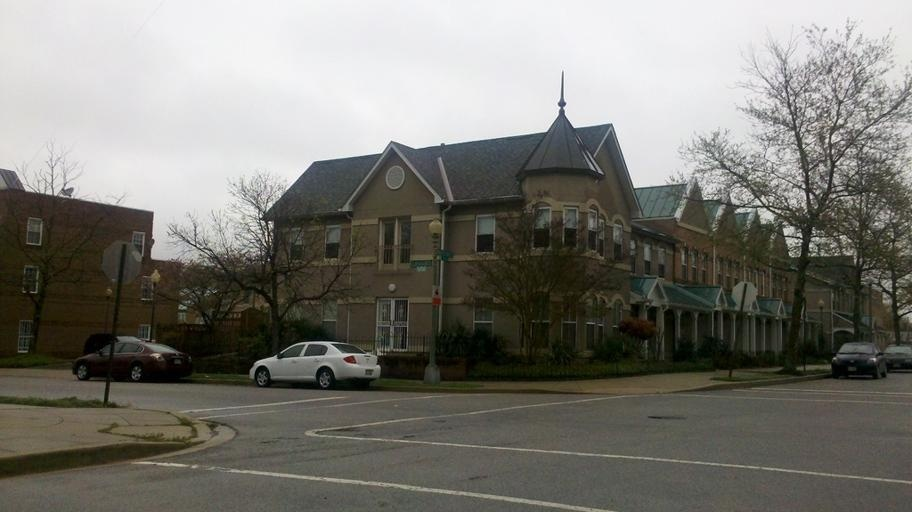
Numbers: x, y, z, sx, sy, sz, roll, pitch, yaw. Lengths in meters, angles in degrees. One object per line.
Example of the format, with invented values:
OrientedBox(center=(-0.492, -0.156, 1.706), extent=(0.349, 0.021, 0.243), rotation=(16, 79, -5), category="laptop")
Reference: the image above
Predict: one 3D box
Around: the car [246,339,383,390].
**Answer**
OrientedBox(center=(-6.220, 4.944, 35.884), extent=(4.974, 1.677, 2.338), rotation=(0, -6, 25), category="car")

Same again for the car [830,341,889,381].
OrientedBox(center=(22.341, 5.748, 44.107), extent=(2.079, 2.061, 3.393), rotation=(-10, -16, 44), category="car")

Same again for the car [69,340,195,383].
OrientedBox(center=(-15.545, 5.047, 38.271), extent=(5.038, 2.002, 1.456), rotation=(0, -11, 5), category="car")
